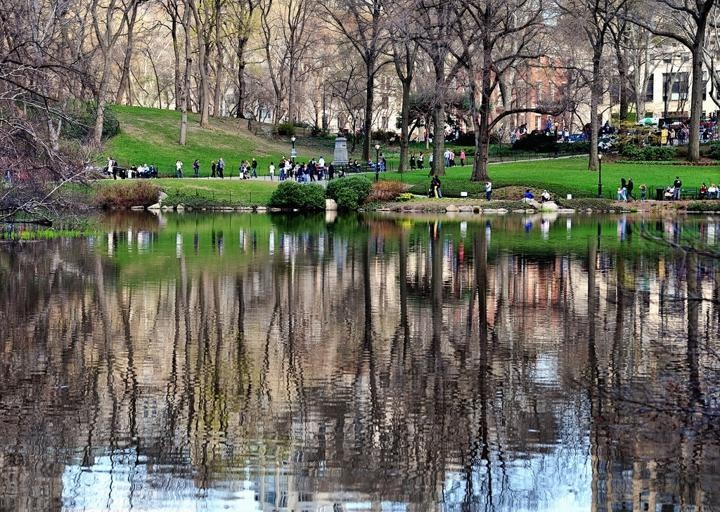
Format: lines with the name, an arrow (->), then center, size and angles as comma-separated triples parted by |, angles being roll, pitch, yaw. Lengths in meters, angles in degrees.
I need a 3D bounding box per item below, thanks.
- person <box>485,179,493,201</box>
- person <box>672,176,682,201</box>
person -> 7.653, -3.771, 68.689 | 0.467, 1.143, 1.983 | 1, 2, 6
person -> 18.743, -3.902, 68.406 | 0.414, 1.347, 1.481 | 1, 2, 16
